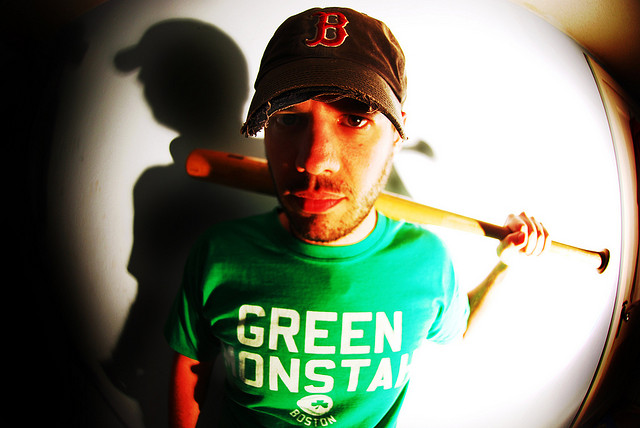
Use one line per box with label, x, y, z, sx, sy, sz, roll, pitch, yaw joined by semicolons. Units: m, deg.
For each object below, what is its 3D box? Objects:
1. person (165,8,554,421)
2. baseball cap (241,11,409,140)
person;0.114;0.008;1.836;0.921;1.239;0.609;8;-1;-3
baseball cap;0.034;-0.393;1.900;0.297;0.223;0.414;4;13;5
